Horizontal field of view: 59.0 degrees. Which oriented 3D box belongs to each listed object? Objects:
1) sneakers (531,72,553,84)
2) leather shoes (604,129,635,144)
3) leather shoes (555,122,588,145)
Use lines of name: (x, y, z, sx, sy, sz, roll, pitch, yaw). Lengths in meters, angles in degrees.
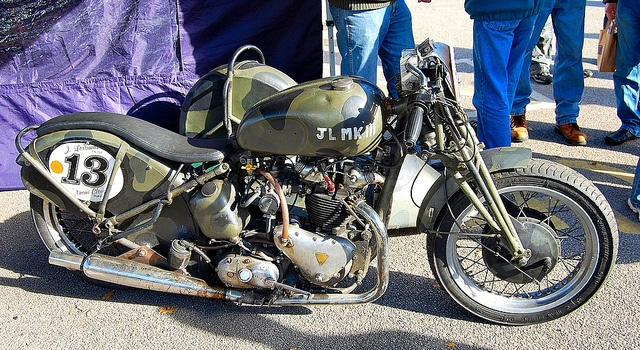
sneakers: (3.414, -1.526, 8.759, 0.352, 0.167, 0.129, 10, 38, 22)
leather shoes: (3.778, -0.477, 7.188, 0.432, 0.175, 0.161, -5, 42, 1)
leather shoes: (3.214, -0.534, 7.288, 0.168, 0.192, 0.454, -34, 51, -15)
